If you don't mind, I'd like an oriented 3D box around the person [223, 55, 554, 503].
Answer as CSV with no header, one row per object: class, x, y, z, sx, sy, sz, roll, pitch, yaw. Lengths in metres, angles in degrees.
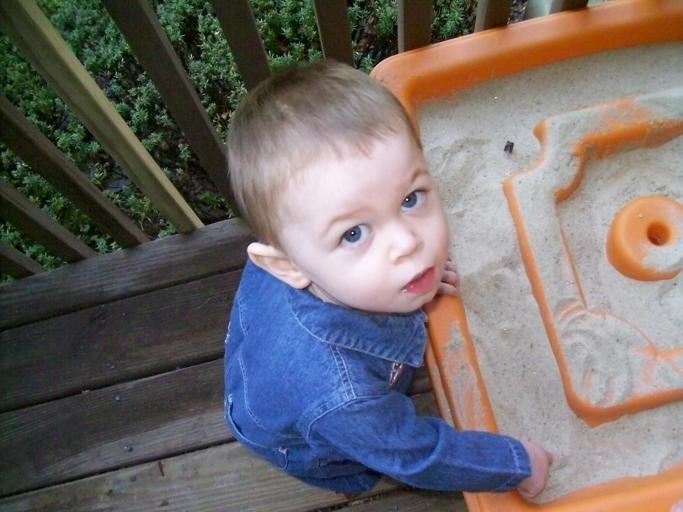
person,-0.016,0.208,1.528,0.723,1.006,0.911,-22,50,-3
